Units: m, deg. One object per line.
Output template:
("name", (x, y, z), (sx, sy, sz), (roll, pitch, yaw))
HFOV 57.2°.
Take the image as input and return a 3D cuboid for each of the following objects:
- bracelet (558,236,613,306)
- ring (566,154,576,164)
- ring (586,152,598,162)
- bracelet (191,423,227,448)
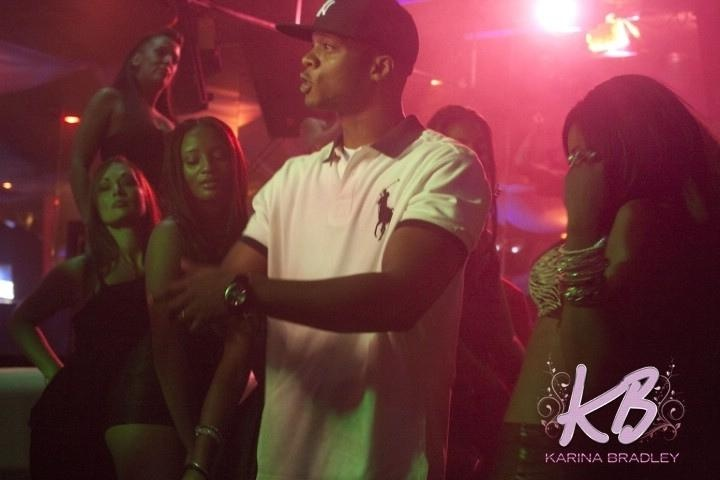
("bracelet", (1.078, 0.130, 3.168), (0.212, 0.315, 0.140), (5, 6, 26))
("ring", (1.048, -0.401, 3.263), (0.011, 0.043, 0.028), (14, -15, -41))
("ring", (1.133, -0.405, 3.211), (0.019, 0.039, 0.037), (14, -9, -40))
("bracelet", (-0.745, 0.945, 3.237), (0.115, 0.064, 0.103), (21, -13, 30))
